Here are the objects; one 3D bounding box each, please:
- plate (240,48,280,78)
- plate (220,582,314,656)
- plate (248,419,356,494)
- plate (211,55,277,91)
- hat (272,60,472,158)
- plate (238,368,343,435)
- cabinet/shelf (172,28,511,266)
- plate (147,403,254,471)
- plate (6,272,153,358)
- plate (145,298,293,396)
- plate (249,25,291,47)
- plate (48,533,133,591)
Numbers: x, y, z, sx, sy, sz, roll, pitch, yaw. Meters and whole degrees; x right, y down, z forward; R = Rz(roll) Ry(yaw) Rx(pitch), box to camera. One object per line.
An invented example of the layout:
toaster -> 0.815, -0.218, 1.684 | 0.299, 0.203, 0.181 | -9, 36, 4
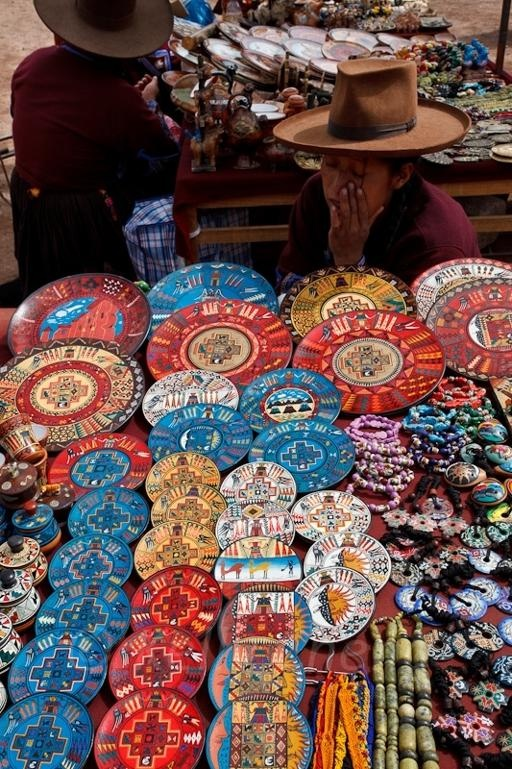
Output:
plate -> 0.046, -2.171, 4.628 | 0.267, 0.050, 0.243 | 3, 42, -35
plate -> 0.024, 0.522, 1.500 | 0.137, 0.028, 0.123 | -6, 42, 1
plate -> 0.126, 0.194, 1.853 | 0.281, 0.034, 0.256 | -14, 45, -16
plate -> -0.045, -2.083, 4.617 | 0.420, 0.067, 0.435 | 36, 18, 31
hat -> 0.402, -0.886, 2.274 | 0.631, 0.210, 0.512 | -10, 43, -5
plate -> 0.097, 0.061, 2.039 | 0.281, 0.258, 0.041 | 18, 37, -17
cabinet/shelf -> 0.373, -1.226, 3.585 | 1.893, 0.618, 1.710 | 2, 47, 6
plate -> -0.159, 0.160, 1.930 | 0.270, 0.041, 0.250 | 11, 46, 8
plate -> -0.617, -0.248, 2.420 | 0.416, 0.051, 0.368 | 0, 54, -1
plate -> -0.108, -0.132, 2.265 | 0.374, 0.057, 0.334 | 7, 50, 6
plate -> 0.116, -2.647, 5.210 | 0.363, 0.047, 0.333 | -17, 55, -28
plate -> -0.386, 0.430, 1.605 | 0.188, 0.028, 0.180 | 10, 37, 13
